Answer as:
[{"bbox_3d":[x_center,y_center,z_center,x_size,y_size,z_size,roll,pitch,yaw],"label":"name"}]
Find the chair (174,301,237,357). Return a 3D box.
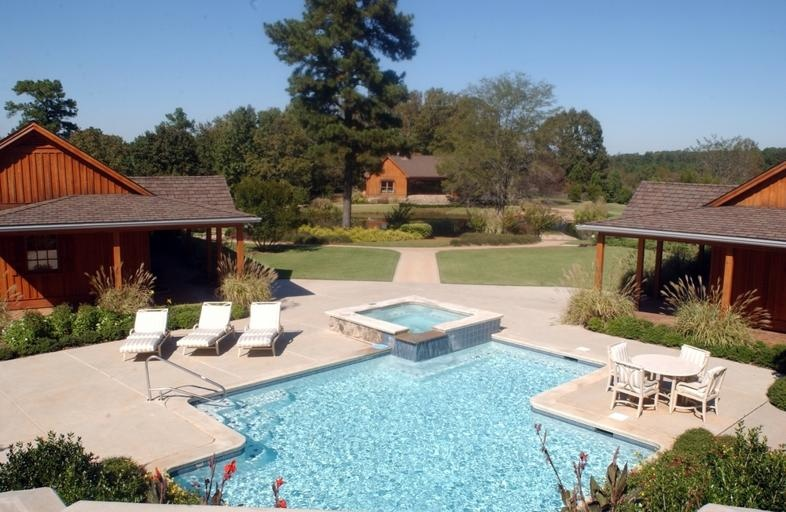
[{"bbox_3d":[-6.343,2.451,19.238,1.210,1.209,2.072,0,10,7],"label":"chair"}]

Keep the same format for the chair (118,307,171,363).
[{"bbox_3d":[-8.165,2.627,18.844,1.032,1.033,2.043,0,20,-3],"label":"chair"}]

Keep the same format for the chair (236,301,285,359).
[{"bbox_3d":[-4.472,2.446,19.226,1.259,1.400,1.965,1,13,-8],"label":"chair"}]
